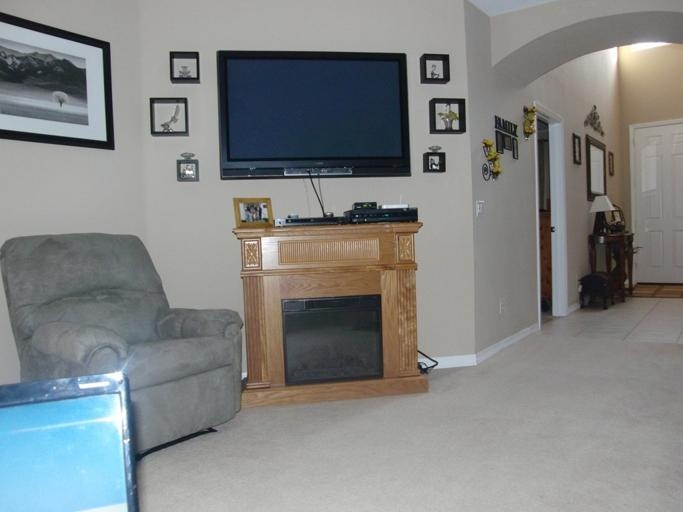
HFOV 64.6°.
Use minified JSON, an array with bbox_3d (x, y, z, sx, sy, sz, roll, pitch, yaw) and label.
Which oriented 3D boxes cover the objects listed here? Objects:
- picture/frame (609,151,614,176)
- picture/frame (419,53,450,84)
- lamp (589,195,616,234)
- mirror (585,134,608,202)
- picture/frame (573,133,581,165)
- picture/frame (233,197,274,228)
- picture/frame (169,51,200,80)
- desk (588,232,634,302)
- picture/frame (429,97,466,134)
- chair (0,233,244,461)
[{"bbox_3d":[3.867,-1.315,7.732,0.019,0.325,0.306,-1,9,29],"label":"picture/frame"},{"bbox_3d":[0.725,-1.465,4.233,0.224,0.237,0.125,0,-1,-11],"label":"picture/frame"},{"bbox_3d":[3.402,-0.553,7.068,0.252,0.480,0.698,3,10,27],"label":"lamp"},{"bbox_3d":[3.342,-1.144,7.090,0.061,1.060,0.883,-1,2,37],"label":"mirror"},{"bbox_3d":[2.815,-1.275,6.448,0.024,0.384,0.349,-1,5,31],"label":"picture/frame"},{"bbox_3d":[-0.609,-0.298,3.733,0.208,0.189,0.014,-3,-11,-29],"label":"picture/frame"},{"bbox_3d":[-1.167,-1.406,4.001,0.202,0.212,0.075,0,0,-4],"label":"picture/frame"},{"bbox_3d":[3.586,0.145,7.095,0.472,0.754,0.491,-9,-7,-10],"label":"desk"},{"bbox_3d":[0.831,-1.109,4.275,0.266,0.282,0.115,0,0,-11],"label":"picture/frame"},{"bbox_3d":[-1.320,0.336,3.549,1.313,1.471,1.179,0,2,37],"label":"chair"}]
